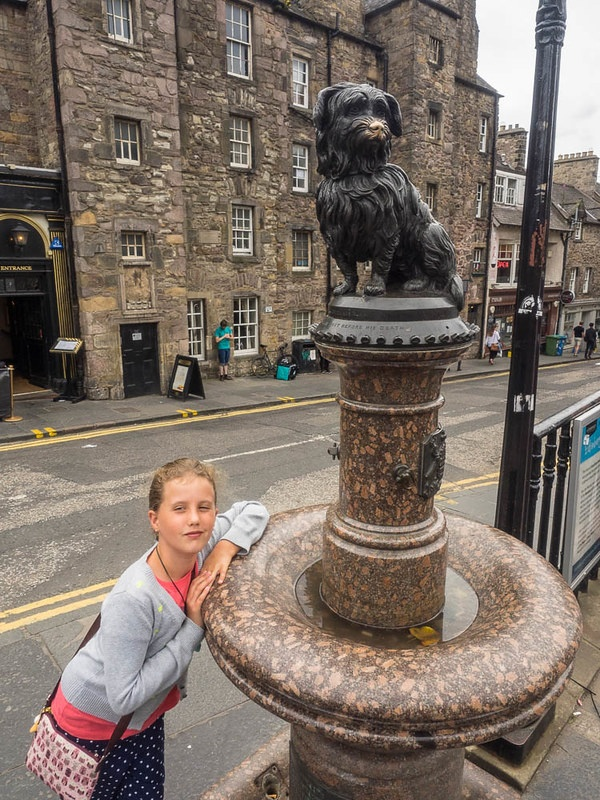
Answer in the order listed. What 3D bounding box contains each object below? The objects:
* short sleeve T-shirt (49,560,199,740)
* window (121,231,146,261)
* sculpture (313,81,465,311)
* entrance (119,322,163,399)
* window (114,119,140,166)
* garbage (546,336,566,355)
[{"bbox_3d":[-0.557,0.878,2.099,0.501,0.648,0.331,-4,10,-26],"label":"short sleeve T-shirt"},{"bbox_3d":[-3.795,-3.473,14.281,0.087,0.626,0.660,10,14,39],"label":"window"},{"bbox_3d":[0.360,-0.814,2.570,0.601,0.863,0.361,2,9,13],"label":"sculpture"},{"bbox_3d":[-3.731,-0.923,14.845,0.198,1.675,1.037,7,11,37],"label":"entrance"},{"bbox_3d":[-3.776,-5.595,13.795,0.255,0.941,0.581,7,11,37],"label":"window"},{"bbox_3d":[11.454,-2.419,28.351,0.935,0.941,0.613,-6,12,-38],"label":"garbage"}]
